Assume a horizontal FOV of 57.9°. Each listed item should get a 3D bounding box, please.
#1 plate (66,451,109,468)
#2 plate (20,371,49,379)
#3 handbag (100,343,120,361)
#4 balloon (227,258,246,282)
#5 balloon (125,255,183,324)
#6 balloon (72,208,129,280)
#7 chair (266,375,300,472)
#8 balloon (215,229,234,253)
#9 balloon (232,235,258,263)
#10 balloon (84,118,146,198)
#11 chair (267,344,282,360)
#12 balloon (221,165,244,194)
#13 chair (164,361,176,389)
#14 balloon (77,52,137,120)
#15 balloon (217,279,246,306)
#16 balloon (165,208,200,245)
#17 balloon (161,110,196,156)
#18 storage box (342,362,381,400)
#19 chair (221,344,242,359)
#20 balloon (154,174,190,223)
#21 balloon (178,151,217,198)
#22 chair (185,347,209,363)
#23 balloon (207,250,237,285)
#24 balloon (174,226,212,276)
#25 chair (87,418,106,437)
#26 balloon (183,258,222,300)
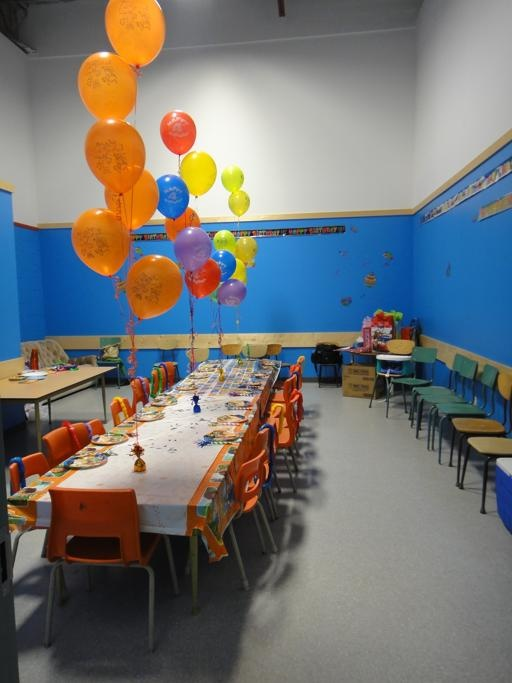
[{"bbox_3d":[-0.883,0.620,2.427,0.202,0.024,0.240,-2,5,-11],"label":"plate"},{"bbox_3d":[-2.512,0.393,5.235,0.137,0.054,0.181,2,1,24],"label":"plate"},{"bbox_3d":[-2.535,0.176,8.079,0.270,0.309,0.109,3,-19,-10],"label":"handbag"},{"bbox_3d":[-0.177,-0.770,5.196,0.243,0.297,0.248,-4,1,5],"label":"balloon"},{"bbox_3d":[-0.560,-0.300,2.543,0.300,0.346,0.201,-5,6,-35],"label":"balloon"},{"bbox_3d":[-0.833,-0.520,2.462,0.290,0.360,0.286,-22,22,-35],"label":"balloon"},{"bbox_3d":[0.226,0.689,3.777,0.291,0.493,0.752,1,7,6],"label":"chair"},{"bbox_3d":[-0.348,-1.087,5.021,0.216,0.251,0.204,-5,3,-40],"label":"balloon"},{"bbox_3d":[-0.124,-1.048,5.330,0.285,0.359,0.297,1,0,0],"label":"balloon"},{"bbox_3d":[-0.658,-0.904,2.321,0.299,0.394,0.317,-4,37,-1],"label":"balloon"},{"bbox_3d":[0.279,0.172,7.512,0.235,0.293,0.252,-1,18,-6],"label":"chair"},{"bbox_3d":[-0.278,-1.826,5.175,0.221,0.277,0.330,-2,5,-6],"label":"balloon"},{"bbox_3d":[-1.062,0.420,5.665,0.184,0.347,0.203,-1,26,-8],"label":"chair"},{"bbox_3d":[-0.748,-1.271,2.343,0.274,0.375,0.231,-2,5,-15],"label":"balloon"},{"bbox_3d":[-0.259,-0.517,4.736,0.254,0.308,0.261,-3,-29,-4],"label":"balloon"},{"bbox_3d":[-0.572,-0.912,3.774,0.281,0.367,0.312,3,2,-3],"label":"balloon"},{"bbox_3d":[-0.586,-1.586,3.493,0.237,0.325,0.298,0,5,9],"label":"balloon"},{"bbox_3d":[1.493,0.568,6.742,0.457,0.466,0.461,3,5,10],"label":"storage box"},{"bbox_3d":[-0.376,0.185,7.437,0.262,0.355,0.252,1,12,0],"label":"chair"},{"bbox_3d":[-0.612,-1.037,3.372,0.282,0.354,0.282,-2,-2,-9],"label":"balloon"},{"bbox_3d":[-0.445,-1.327,3.764,0.326,0.427,0.330,1,12,0],"label":"balloon"},{"bbox_3d":[-0.907,0.210,7.202,0.291,0.360,0.279,3,-3,6],"label":"chair"},{"bbox_3d":[-0.309,-0.734,4.486,0.269,0.368,0.288,5,-29,-1],"label":"balloon"},{"bbox_3d":[-0.463,-0.653,3.334,0.297,0.361,0.288,-2,-3,9],"label":"balloon"},{"bbox_3d":[-1.025,0.569,3.001,0.107,0.133,0.104,4,8,24],"label":"chair"},{"bbox_3d":[-0.486,-0.493,3.646,0.274,0.361,0.297,5,-2,9],"label":"balloon"}]
